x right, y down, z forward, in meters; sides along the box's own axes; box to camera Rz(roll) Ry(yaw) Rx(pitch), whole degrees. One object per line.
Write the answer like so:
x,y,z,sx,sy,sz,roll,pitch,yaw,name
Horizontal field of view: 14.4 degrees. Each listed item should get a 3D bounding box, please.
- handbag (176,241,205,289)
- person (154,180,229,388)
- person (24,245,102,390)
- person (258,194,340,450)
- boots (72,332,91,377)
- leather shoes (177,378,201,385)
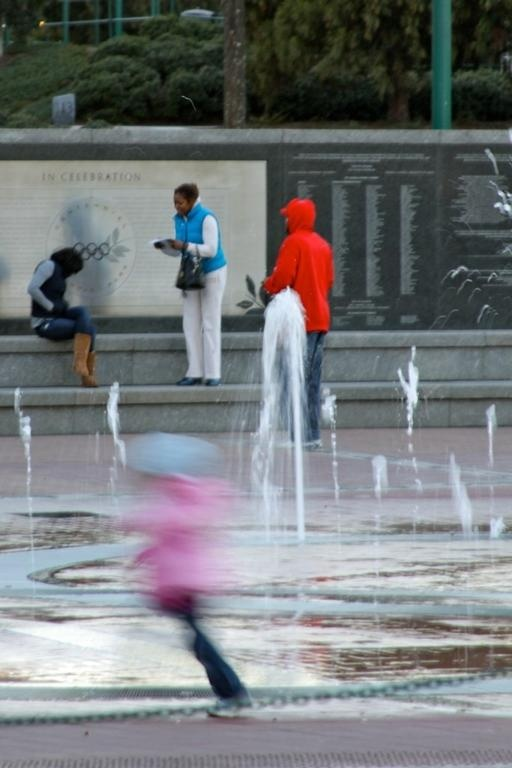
-0.379,-0.725,12.456,0.123,0.369,0.208,-5,8,-43,handbag
-0.377,-0.605,12.624,0.391,1.250,0.650,1,6,1,person
-1.189,-0.416,12.780,0.401,0.843,0.632,-5,9,-44,person
0.291,-0.333,11.508,0.410,1.390,0.337,-1,6,-18,person
-1.061,-0.177,12.607,0.103,0.281,0.255,0,6,-4,boots
-0.401,-0.011,12.789,0.142,0.079,0.059,1,-2,-10,leather shoes
